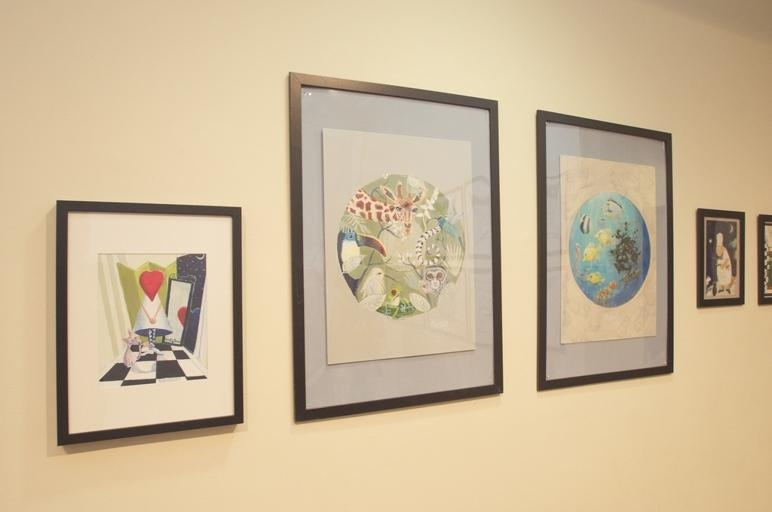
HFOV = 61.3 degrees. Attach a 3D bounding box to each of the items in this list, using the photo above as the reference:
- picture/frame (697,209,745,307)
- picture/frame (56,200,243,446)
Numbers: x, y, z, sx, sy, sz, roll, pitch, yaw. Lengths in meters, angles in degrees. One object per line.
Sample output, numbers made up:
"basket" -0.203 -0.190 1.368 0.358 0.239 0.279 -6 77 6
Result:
"picture/frame" 1.160 0.009 2.271 0.310 0.464 0.020 1 -1 -25
"picture/frame" -0.630 0.163 1.785 0.417 0.608 0.024 3 17 -3
